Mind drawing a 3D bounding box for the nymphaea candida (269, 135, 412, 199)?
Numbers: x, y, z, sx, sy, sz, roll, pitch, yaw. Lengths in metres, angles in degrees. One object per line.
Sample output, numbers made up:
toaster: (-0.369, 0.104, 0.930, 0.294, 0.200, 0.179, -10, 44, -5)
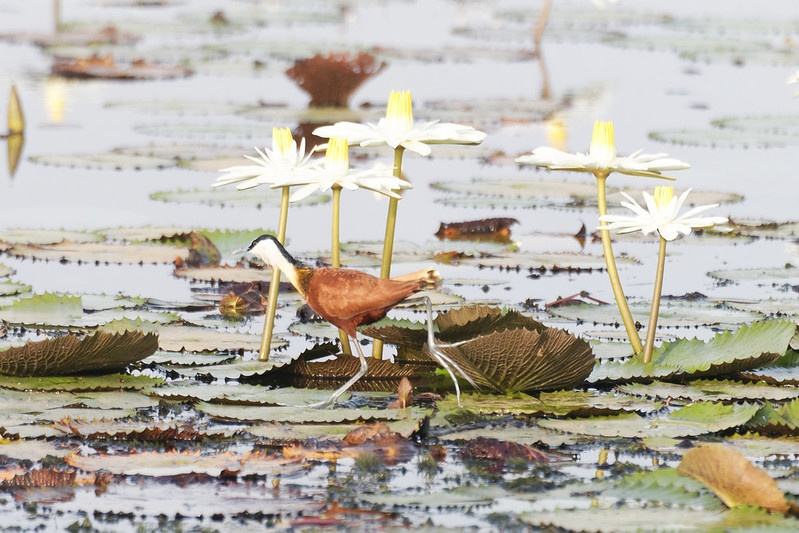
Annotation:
nymphaea candida: (-0.452, -0.803, 11.572, 1.181, 0.367, 1.045, 6, 9, 11)

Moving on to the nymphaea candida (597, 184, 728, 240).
nymphaea candida: (2.111, -0.465, 11.581, 0.840, 0.259, 0.686, -2, 15, 4)

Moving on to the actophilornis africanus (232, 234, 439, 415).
actophilornis africanus: (-0.444, 0.412, 11.289, 1.347, 1.261, 0.508, 1, 16, 8)

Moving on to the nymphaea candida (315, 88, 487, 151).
nymphaea candida: (-0.001, -1.140, 11.666, 1.206, 0.371, 1.214, 11, 12, 43)
